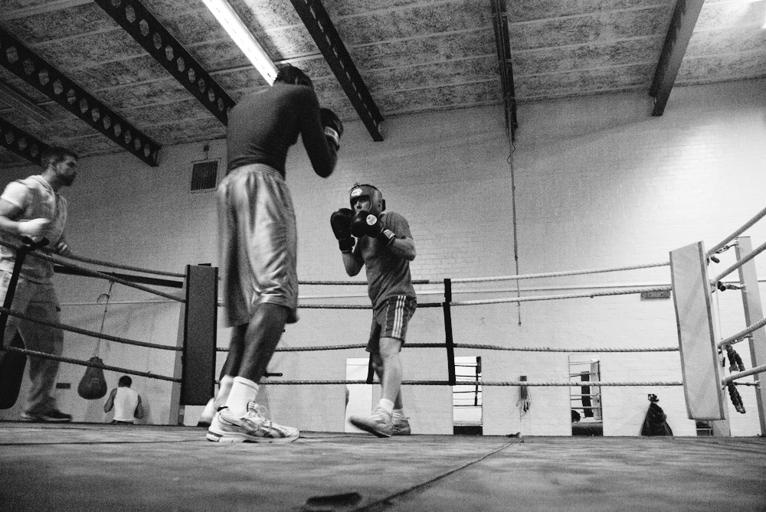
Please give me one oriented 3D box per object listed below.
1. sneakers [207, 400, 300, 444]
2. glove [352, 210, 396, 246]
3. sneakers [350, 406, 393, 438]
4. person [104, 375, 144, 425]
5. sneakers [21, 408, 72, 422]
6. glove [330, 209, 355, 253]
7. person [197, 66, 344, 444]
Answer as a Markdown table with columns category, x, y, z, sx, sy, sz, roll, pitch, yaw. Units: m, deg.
| category | x | y | z | sx | sy | sz | roll | pitch | yaw |
| --- | --- | --- | --- | --- | --- | --- | --- | --- | --- |
| sneakers | -0.510 | 0.665 | 2.200 | 0.381 | 0.164 | 0.147 | 6 | -20 | -11 |
| glove | -0.065 | -0.142 | 3.380 | 0.111 | 0.186 | 0.255 | -54 | -35 | 12 |
| sneakers | -0.058 | 0.851 | 2.834 | 0.099 | 0.121 | 0.275 | -15 | -31 | 32 |
| person | -3.362 | 1.852 | 7.264 | 0.432 | 0.644 | 1.019 | 11 | -20 | -26 |
| sneakers | -2.092 | 1.005 | 3.484 | 0.251 | 0.086 | 0.458 | 14 | -22 | -34 |
| glove | -0.272 | -0.168 | 3.761 | 0.215 | 0.284 | 0.132 | 2 | 3 | 8 |
| person | -0.491 | -0.006 | 2.371 | 0.468 | 1.522 | 0.361 | -5 | -19 | 19 |
